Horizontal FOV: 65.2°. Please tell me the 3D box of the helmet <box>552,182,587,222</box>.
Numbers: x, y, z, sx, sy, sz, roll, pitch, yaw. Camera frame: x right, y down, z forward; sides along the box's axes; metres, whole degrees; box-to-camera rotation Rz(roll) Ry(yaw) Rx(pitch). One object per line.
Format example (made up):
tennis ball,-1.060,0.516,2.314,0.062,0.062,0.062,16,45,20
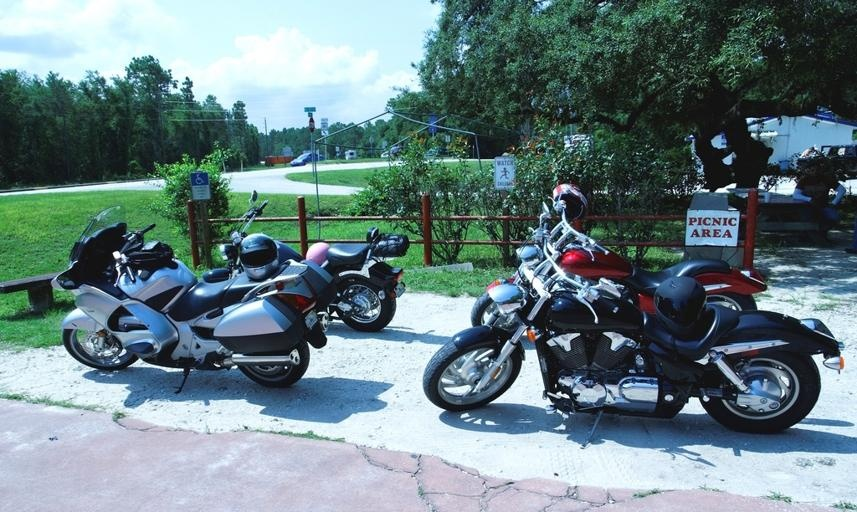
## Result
helmet,1.950,-0.767,9.294,0.587,0.479,0.434,-7,15,-14
